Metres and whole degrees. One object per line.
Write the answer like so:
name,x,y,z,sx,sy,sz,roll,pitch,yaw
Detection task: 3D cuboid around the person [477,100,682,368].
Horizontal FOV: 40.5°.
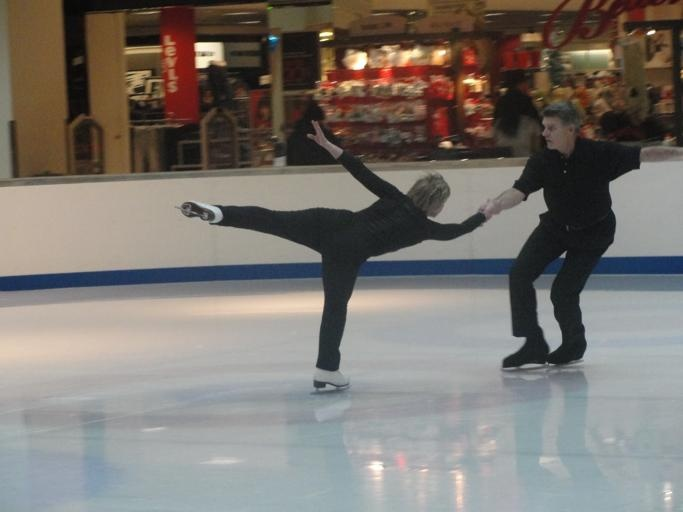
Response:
person,1.380,-0.124,5.650,1.002,1.629,0.379,-1,14,6

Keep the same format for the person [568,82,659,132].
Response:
person,2.716,-1.463,9.183,0.837,0.657,0.247,-7,-14,-2

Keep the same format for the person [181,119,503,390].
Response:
person,0.016,-0.095,5.553,1.916,1.373,0.486,1,26,24

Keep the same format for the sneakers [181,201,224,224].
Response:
sneakers,-0.792,-0.253,5.156,0.310,0.093,0.109,14,0,-2
